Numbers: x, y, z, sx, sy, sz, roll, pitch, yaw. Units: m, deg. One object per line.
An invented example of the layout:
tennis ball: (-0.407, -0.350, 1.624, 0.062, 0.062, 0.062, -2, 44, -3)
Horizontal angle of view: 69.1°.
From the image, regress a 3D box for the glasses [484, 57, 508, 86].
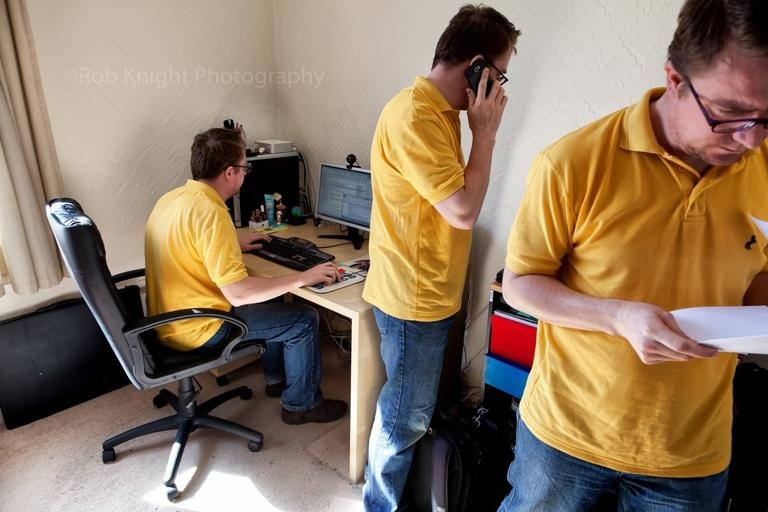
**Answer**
glasses: (0.449, -0.722, 2.212, 0.029, 0.102, 0.084, -40, -9, 19)

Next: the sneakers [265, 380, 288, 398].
sneakers: (-0.630, 0.791, 3.285, 0.137, 0.136, 0.106, -1, 4, -10)

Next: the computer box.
computer box: (-0.745, -0.393, 3.352, 0.385, 0.364, 0.208, -27, 35, -28)

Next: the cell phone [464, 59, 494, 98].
cell phone: (0.370, -0.693, 2.177, 0.109, 0.138, 0.064, 0, 18, 7)

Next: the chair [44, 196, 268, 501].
chair: (-1.104, 0.417, 2.842, 0.904, 1.368, 0.853, -2, 18, -14)

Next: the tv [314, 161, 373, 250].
tv: (-0.233, -0.287, 3.311, 0.449, 0.510, 0.212, 15, 16, 41)

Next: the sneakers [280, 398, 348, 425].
sneakers: (-0.394, 0.850, 3.122, 0.350, 0.146, 0.142, -7, 19, -15)

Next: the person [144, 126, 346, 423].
person: (-0.747, 0.163, 3.005, 0.999, 1.625, 0.903, -9, 16, -39)
